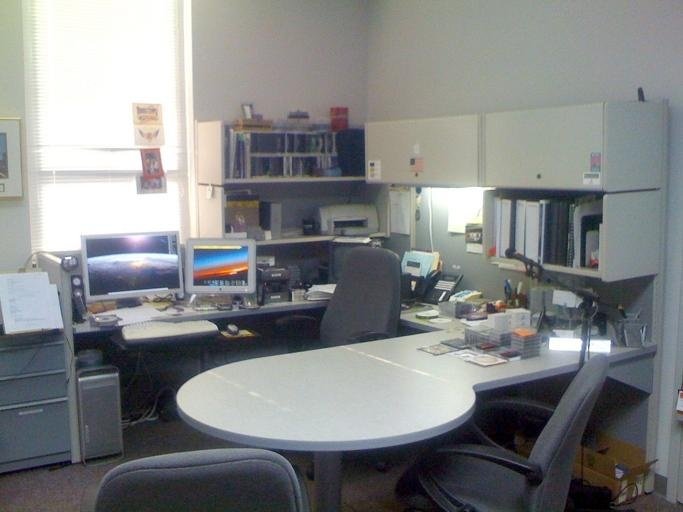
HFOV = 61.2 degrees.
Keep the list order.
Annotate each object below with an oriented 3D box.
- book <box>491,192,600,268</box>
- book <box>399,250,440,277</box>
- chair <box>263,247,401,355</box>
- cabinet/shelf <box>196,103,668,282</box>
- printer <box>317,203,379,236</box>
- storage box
[{"bbox_3d":[1.233,-0.162,3.414,0.169,0.265,0.434,-7,10,-36],"label":"book"},{"bbox_3d":[0.601,0.055,4.495,0.224,0.226,0.061,-7,-35,39],"label":"book"},{"bbox_3d":[-0.139,0.263,3.891,0.794,0.963,0.689,1,3,-36],"label":"chair"},{"bbox_3d":[1.092,-0.436,3.623,1.655,0.980,0.477,9,16,41],"label":"cabinet/shelf"},{"bbox_3d":[0.047,-0.320,4.840,0.338,0.181,0.331,-1,6,-13],"label":"printer"},{"bbox_3d":[1.628,1.263,3.450,0.356,0.231,0.342,-9,11,-37],"label":"storage box"}]
